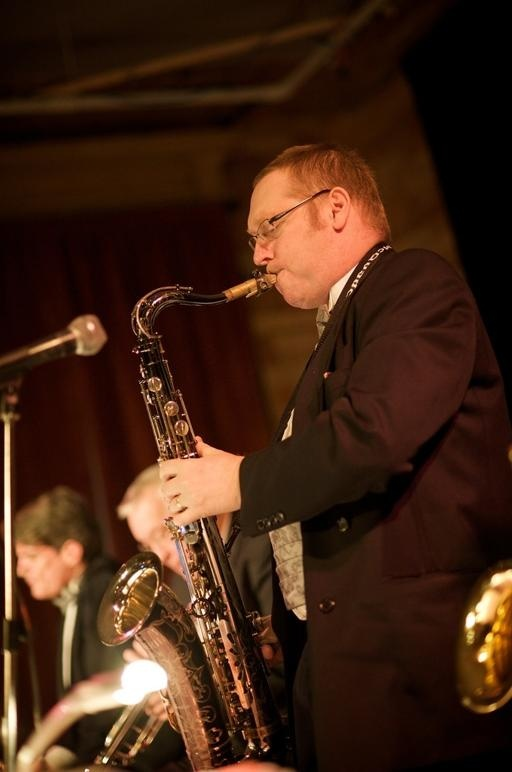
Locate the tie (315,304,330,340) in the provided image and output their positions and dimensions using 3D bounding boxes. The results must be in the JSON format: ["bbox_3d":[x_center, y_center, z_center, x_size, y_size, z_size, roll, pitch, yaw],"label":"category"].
[{"bbox_3d":[0.169,-0.165,1.927,0.033,0.085,0.065,17,-5,-3],"label":"tie"}]
